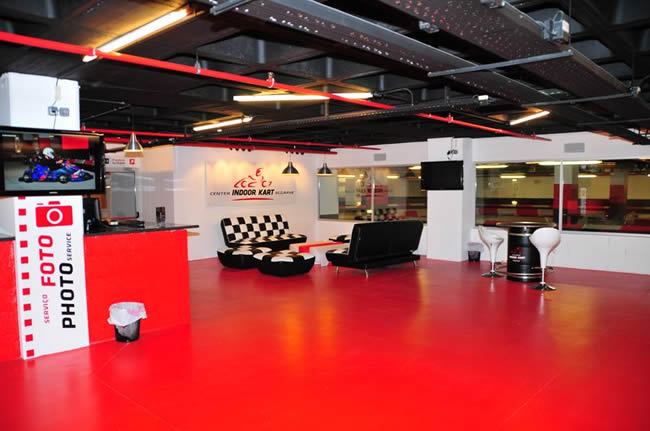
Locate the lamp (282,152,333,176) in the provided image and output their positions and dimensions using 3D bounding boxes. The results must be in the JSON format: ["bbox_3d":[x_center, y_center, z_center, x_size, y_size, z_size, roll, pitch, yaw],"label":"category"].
[{"bbox_3d":[-0.500,-1.505,12.644,1.278,0.480,1.381,1,3,4],"label":"lamp"}]

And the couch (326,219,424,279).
[{"bbox_3d":[1.161,0.653,9.870,1.186,0.849,2.533,-3,0,43],"label":"couch"}]

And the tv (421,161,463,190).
[{"bbox_3d":[3.113,-1.084,11.162,1.521,0.793,0.145,-4,7,-27],"label":"tv"}]

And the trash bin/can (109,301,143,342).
[{"bbox_3d":[-2.797,1.541,5.805,0.522,0.380,0.470,-12,-5,-13],"label":"trash bin/can"}]

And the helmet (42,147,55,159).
[{"bbox_3d":[-3.521,-0.793,5.259,0.175,0.115,0.107,0,9,-7],"label":"helmet"}]

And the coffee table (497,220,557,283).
[{"bbox_3d":[4.103,0.781,9.034,1.336,1.092,1.167,5,-4,-28],"label":"coffee table"}]

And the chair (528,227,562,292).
[{"bbox_3d":[4.401,0.827,8.302,0.524,1.196,0.930,3,5,25],"label":"chair"}]

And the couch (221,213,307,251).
[{"bbox_3d":[-1.709,0.508,12.111,1.071,0.748,2.273,20,17,40],"label":"couch"}]
